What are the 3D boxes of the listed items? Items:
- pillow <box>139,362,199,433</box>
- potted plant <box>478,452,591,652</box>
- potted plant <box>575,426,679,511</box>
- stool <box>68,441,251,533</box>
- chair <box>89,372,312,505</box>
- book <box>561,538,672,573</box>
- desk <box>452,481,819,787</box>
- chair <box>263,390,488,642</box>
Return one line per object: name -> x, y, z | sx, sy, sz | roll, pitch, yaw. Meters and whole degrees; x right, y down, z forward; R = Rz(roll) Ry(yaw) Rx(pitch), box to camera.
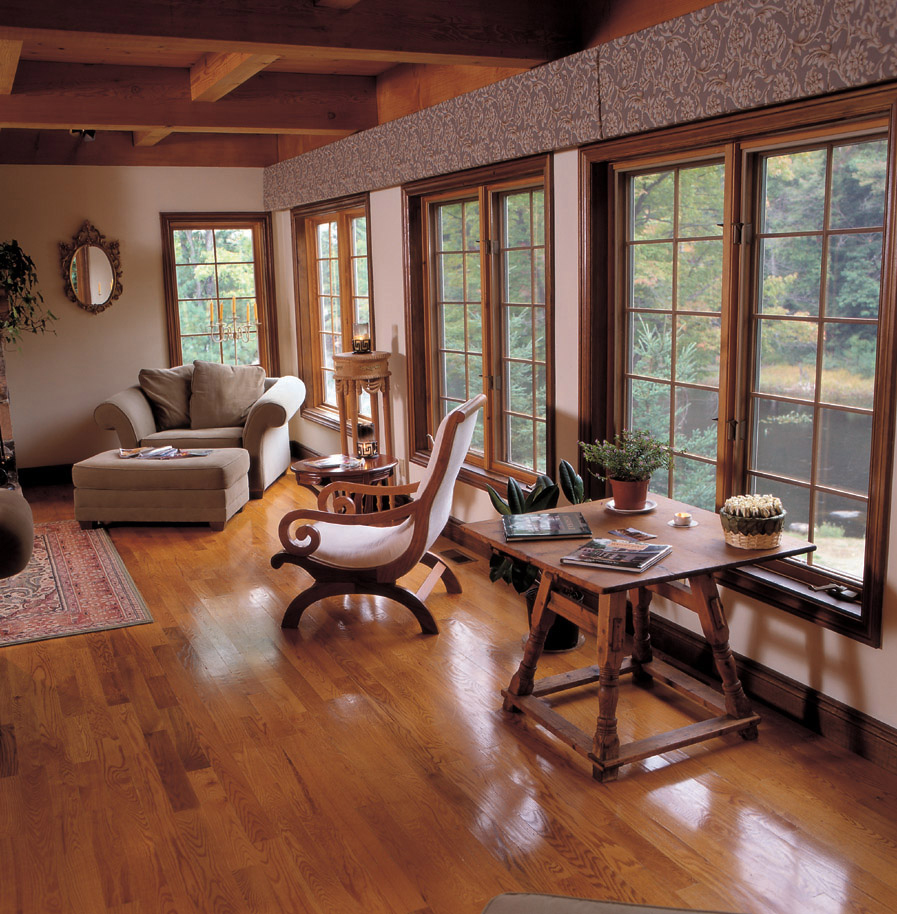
pillow -> -2.406, -0.495, 6.585 | 0.168, 0.491, 0.550 | -17, -3, 42
potted plant -> 0.338, 0.446, 3.398 | 0.563, 0.695, 0.478 | 0, -7, -44
potted plant -> 0.696, 0.082, 3.008 | 0.258, 0.313, 0.342 | -9, 1, -7
stool -> -2.075, 0.233, 5.607 | 1.108, 0.510, 0.512 | -1, 11, 4
chair -> -2.306, -0.145, 6.215 | 1.327, 0.925, 1.677 | 4, 3, 37
book -> 0.532, 0.319, 2.455 | 0.287, 0.031, 0.268 | 3, 11, 29
desk -> 0.638, 0.595, 2.736 | 0.862, 0.733, 0.865 | -8, 12, -26
chair -> -0.351, 0.276, 3.770 | 1.025, 0.911, 0.774 | 1, 11, 22
